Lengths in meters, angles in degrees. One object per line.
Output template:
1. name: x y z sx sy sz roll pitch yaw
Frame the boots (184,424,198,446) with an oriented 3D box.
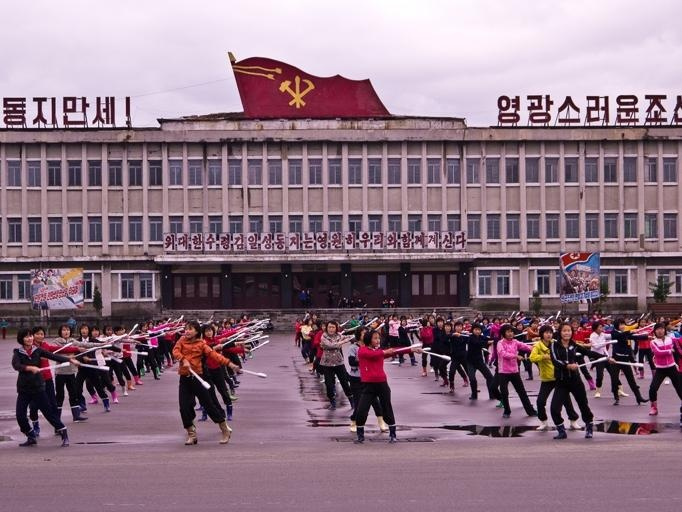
1. boots: -4.565 5.395 45.039 0.388 0.577 1.093 -1 7 -6

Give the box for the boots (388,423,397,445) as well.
1. boots: 1.596 5.397 45.049 0.243 0.501 0.737 0 7 2

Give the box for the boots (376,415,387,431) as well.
1. boots: 1.314 5.219 46.121 0.271 0.529 0.681 -1 7 1

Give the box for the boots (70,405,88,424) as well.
1. boots: -8.618 5.163 48.136 0.700 0.680 0.369 -1 -1 -10
